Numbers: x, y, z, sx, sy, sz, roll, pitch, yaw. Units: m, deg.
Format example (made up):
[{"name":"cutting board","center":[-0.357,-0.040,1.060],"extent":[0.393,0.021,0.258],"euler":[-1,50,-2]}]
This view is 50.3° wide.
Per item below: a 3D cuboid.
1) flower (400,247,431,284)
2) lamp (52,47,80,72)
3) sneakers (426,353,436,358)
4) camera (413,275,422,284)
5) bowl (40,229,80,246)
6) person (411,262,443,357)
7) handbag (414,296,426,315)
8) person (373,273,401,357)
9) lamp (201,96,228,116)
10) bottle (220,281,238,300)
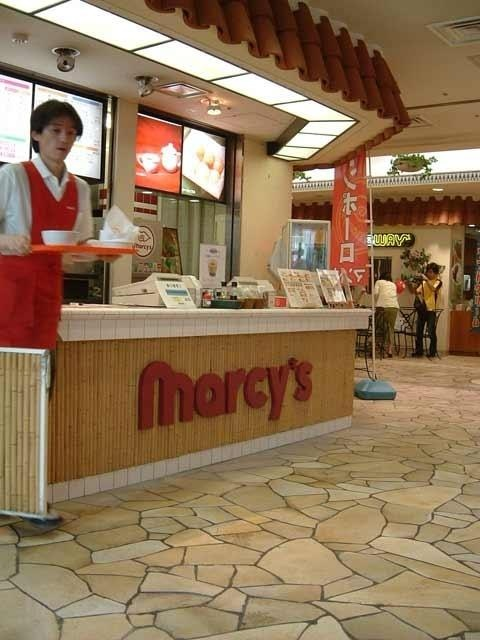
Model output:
[{"name":"flower","center":[4.362,-1.367,12.758],"extent":[0.825,1.032,0.797],"euler":[0,1,-5]},{"name":"lamp","center":[-1.444,-2.128,4.244],"extent":[0.211,0.171,0.190],"euler":[-5,15,-22]},{"name":"sneakers","center":[4.336,0.795,11.453],"extent":[0.119,0.122,0.195],"euler":[-1,-1,4]},{"name":"camera","center":[4.357,-0.991,12.447],"extent":[0.311,0.251,0.171],"euler":[0,-11,19]},{"name":"bowl","center":[-0.683,-0.310,1.931],"extent":[0.125,0.053,0.082],"euler":[3,-4,-16]},{"name":"person","center":[4.161,-0.199,11.273],"extent":[0.494,2.041,0.838],"euler":[1,-4,18]},{"name":"handbag","center":[4.052,-0.328,11.433],"extent":[0.320,0.276,0.520],"euler":[-13,10,8]},{"name":"person","center":[3.216,-0.110,11.208],"extent":[0.481,1.854,1.390],"euler":[1,-4,17]},{"name":"lamp","center":[-0.274,-2.217,5.280],"extent":[0.255,0.123,0.234],"euler":[0,1,13]},{"name":"bottle","center":[-0.075,-0.235,4.078],"extent":[0.164,0.154,0.167],"euler":[0,0,13]}]
